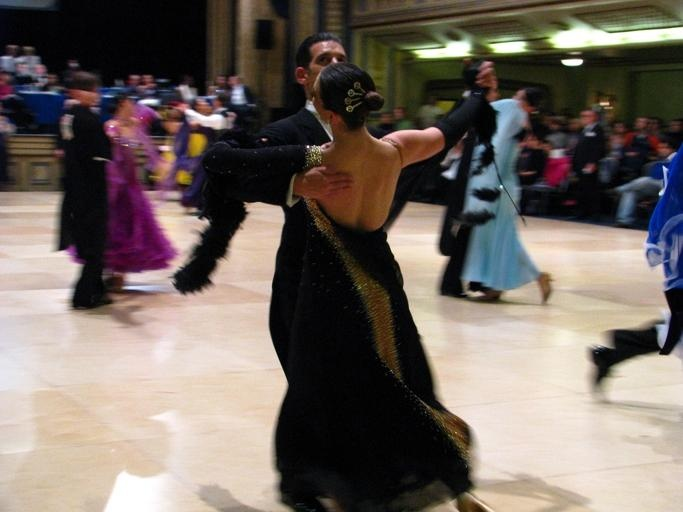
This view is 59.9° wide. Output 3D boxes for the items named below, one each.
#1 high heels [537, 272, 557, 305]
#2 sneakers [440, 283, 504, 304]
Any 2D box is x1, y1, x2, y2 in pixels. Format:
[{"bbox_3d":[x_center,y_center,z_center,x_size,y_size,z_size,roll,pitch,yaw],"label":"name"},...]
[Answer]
[{"bbox_3d":[1.918,0.312,5.539,0.145,0.290,0.139,-5,23,5],"label":"high heels"},{"bbox_3d":[1.278,0.353,5.577,0.678,0.174,0.191,-1,5,16],"label":"sneakers"}]
